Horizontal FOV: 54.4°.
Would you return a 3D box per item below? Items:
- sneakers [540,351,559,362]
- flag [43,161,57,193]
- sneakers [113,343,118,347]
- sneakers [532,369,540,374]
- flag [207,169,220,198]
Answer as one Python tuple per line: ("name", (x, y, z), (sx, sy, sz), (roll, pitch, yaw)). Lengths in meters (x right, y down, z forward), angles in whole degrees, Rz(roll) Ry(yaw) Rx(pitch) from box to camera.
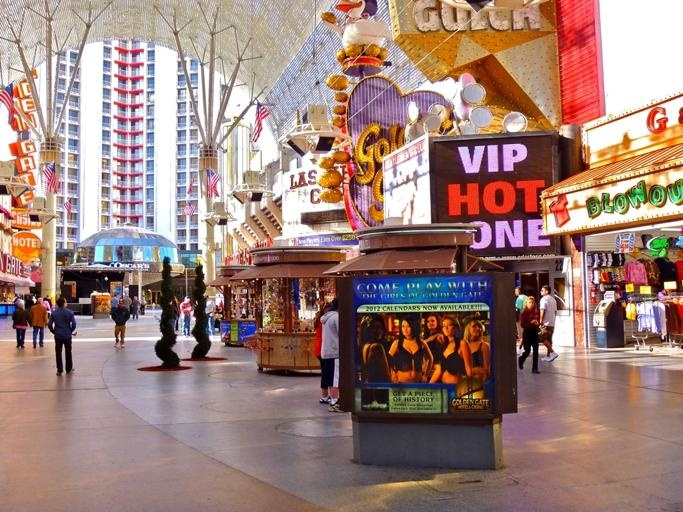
("sneakers", (5.705, 2.724, 18.024), (0.191, 0.255, 0.588), (-4, 3, 3))
("flag", (-19.227, -5.387, 43.581), (0.877, 2.138, 2.088), (1, -5, -24))
("sneakers", (-9.013, 3.529, 26.284), (0.146, 0.112, 0.149), (-1, -6, 5))
("sneakers", (4.569, 2.714, 15.581), (0.154, 0.071, 0.075), (-2, 3, 17))
("flag", (-8.964, -5.039, 45.611), (0.816, 2.005, 2.291), (0, -5, -13))
